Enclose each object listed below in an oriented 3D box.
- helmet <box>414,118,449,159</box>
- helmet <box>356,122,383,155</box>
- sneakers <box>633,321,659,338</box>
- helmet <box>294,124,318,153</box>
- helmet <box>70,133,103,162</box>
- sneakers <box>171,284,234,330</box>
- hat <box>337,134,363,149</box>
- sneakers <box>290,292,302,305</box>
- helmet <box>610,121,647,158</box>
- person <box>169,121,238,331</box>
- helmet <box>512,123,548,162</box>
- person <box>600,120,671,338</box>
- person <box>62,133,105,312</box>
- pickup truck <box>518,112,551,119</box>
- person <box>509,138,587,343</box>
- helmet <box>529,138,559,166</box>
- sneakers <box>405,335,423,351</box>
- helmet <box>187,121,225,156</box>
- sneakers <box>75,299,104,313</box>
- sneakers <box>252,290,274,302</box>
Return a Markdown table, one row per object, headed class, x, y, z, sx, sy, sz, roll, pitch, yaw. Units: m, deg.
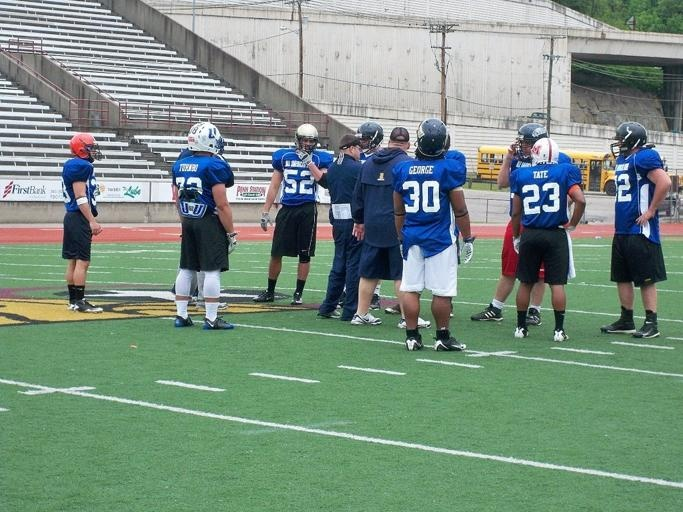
| class | x | y | z | sx | sy | sz | roll | pitch | yaw |
| --- | --- | --- | --- | --- | --- | --- | --- | --- | --- |
| helmet | 0.950 | -1.210 | 10.327 | 0.325 | 0.354 | 0.394 | 6 | 36 | 6 |
| helmet | 0.415 | -1.417 | 12.506 | 0.447 | 0.417 | 0.313 | -5 | 13 | -4 |
| sneakers | 3.418 | 0.804 | 11.481 | 0.251 | 0.195 | 0.308 | 5 | 9 | 26 |
| helmet | -0.455 | -1.498 | 13.186 | 0.338 | 0.341 | 0.430 | 1 | 12 | -10 |
| helmet | -3.039 | -1.304 | 12.352 | 0.412 | 0.318 | 0.289 | -9 | 22 | -26 |
| sneakers | -1.541 | 0.700 | 11.484 | 0.686 | 0.273 | 0.220 | 0 | 3 | -1 |
| hat | 0.118 | -1.390 | 12.589 | 0.229 | 0.124 | 0.158 | -23 | 20 | -23 |
| sneakers | -0.588 | 0.570 | 13.624 | 0.141 | 0.166 | 0.402 | 0 | -3 | 5 |
| helmet | 3.247 | -1.320 | 11.693 | 0.520 | 0.420 | 0.381 | -1 | 6 | 3 |
| person | -1.520 | -0.316 | 11.376 | 0.702 | 2.248 | 0.442 | 2 | 7 | 4 |
| helmet | 2.152 | -1.361 | 12.000 | 0.475 | 0.441 | 0.375 | -5 | 22 | -12 |
| person | 3.329 | -0.285 | 11.572 | 0.596 | 2.367 | 0.810 | 0 | 8 | -14 |
| person | -3.162 | -0.407 | 12.608 | 0.459 | 2.140 | 1.325 | 0 | 8 | -15 |
| pickup truck | 10.851 | -7.851 | 58.572 | 1.482 | 0.561 | 16.915 | 3 | 8 | 10 |
| person | 2.223 | -0.178 | 11.223 | 0.564 | 2.165 | 0.678 | -4 | 9 | -37 |
| helmet | 2.205 | -1.120 | 11.161 | 0.235 | 0.256 | 0.311 | 3 | 18 | 6 |
| sneakers | 0.749 | 0.893 | 10.510 | 0.086 | 0.094 | 0.230 | 1 | 3 | 14 |
| helmet | -1.498 | -1.290 | 11.425 | 0.346 | 0.366 | 0.454 | 7 | 8 | 33 |
| sneakers | -3.005 | 0.601 | 12.283 | 0.372 | 0.155 | 0.142 | 1 | 4 | 2 |
| sneakers | -1.005 | 0.553 | 13.765 | 0.340 | 0.143 | 0.109 | 1 | 2 | -17 |
